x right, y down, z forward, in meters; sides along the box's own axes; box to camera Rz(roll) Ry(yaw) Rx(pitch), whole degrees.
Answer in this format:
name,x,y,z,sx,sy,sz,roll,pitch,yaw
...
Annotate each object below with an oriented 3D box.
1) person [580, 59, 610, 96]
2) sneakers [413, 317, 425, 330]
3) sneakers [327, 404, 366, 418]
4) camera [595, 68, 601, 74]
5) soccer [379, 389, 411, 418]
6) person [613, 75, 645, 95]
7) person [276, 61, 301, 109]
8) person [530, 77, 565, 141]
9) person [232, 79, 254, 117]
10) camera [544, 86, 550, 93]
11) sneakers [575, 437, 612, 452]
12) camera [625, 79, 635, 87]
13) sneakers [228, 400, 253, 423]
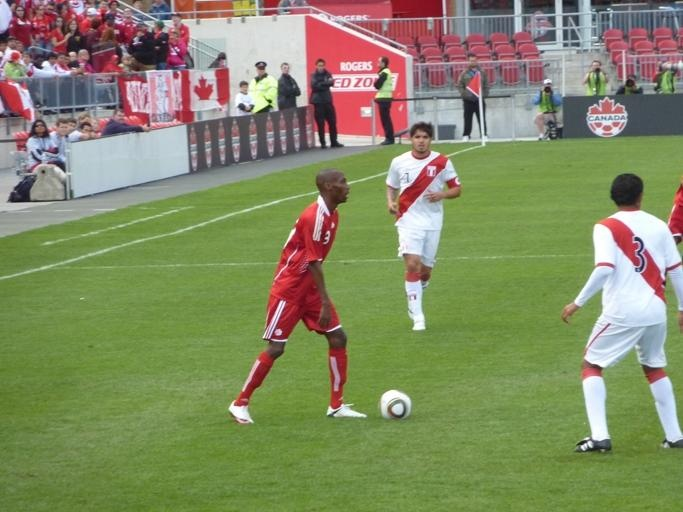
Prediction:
name,x,y,z,sx,sy,sz,roll,pitch,yaw
person,6.896,-4.792,43.472,0.546,0.913,0.758,-5,8,7
sneakers,1.157,0.991,24.183,0.208,0.201,0.265,-5,8,2
sneakers,0.044,2.063,21.604,0.574,0.201,0.193,1,-2,-1
camera,6.917,-4.985,43.245,0.260,0.128,0.084,1,8,-13
soccer,0.709,1.948,21.417,0.398,0.348,0.373,1,-1,-28
person,7.826,-4.605,43.498,0.613,0.481,1.027,-3,8,16
person,-1.442,-4.397,41.710,0.605,1.157,1.177,-6,8,-2
person,5.661,-3.986,43.766,0.760,1.592,1.557,-5,8,7
person,-2.536,-4.011,41.006,0.453,0.818,1.476,-6,7,-2
camera,5.537,-4.450,42.978,0.182,0.184,0.094,-5,8,8
sneakers,3.238,2.415,20.649,0.523,0.227,0.179,2,-1,15
camera,7.814,-4.663,43.227,0.251,0.248,0.316,-5,8,8
sneakers,-1.404,2.068,21.450,0.218,0.158,0.361,-1,15,-43
